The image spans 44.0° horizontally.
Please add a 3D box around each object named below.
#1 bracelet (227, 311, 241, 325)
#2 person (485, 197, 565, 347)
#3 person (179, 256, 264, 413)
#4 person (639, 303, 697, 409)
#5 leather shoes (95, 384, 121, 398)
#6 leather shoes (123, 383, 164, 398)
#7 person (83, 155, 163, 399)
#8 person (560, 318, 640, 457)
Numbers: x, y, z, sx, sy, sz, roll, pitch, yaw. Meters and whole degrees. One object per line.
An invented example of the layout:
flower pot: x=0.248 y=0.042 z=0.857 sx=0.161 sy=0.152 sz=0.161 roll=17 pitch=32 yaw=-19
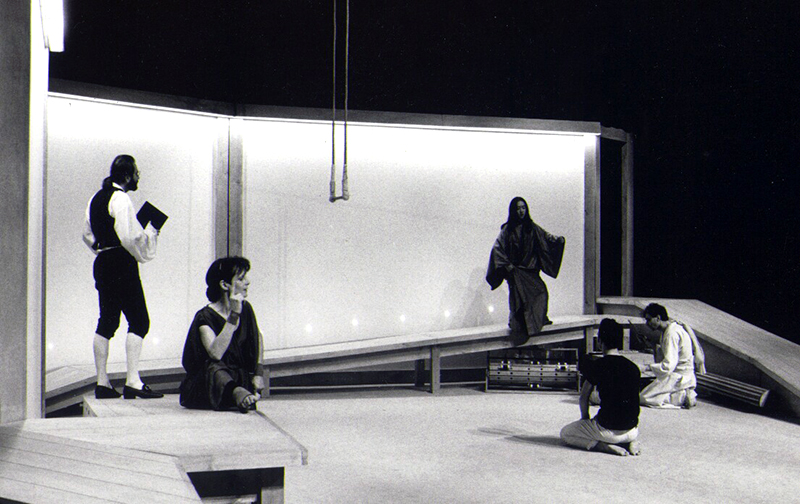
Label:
bracelet: x=-1.781 y=0.722 z=10.687 sx=0.121 sy=0.144 sz=0.118 roll=1 pitch=1 yaw=9
person: x=1.724 y=0.272 z=13.745 sx=1.022 sy=2.000 sz=0.574 roll=2 pitch=8 yaw=10
person: x=-1.943 y=0.896 z=10.686 sx=0.894 sy=1.622 sz=0.630 roll=-1 pitch=8 yaw=-11
person: x=3.519 y=1.330 z=12.789 sx=0.819 sy=1.330 sz=0.479 roll=1 pitch=8 yaw=3
leather shoes: x=-3.352 y=1.611 z=11.329 sx=0.331 sy=0.147 sz=0.124 roll=2 pitch=-4 yaw=-21
leather shoes: x=-2.953 y=1.617 z=11.399 sx=0.476 sy=0.204 sz=0.179 roll=0 pitch=-4 yaw=-17
person: x=-3.263 y=0.315 z=11.531 sx=0.858 sy=2.826 sz=1.040 roll=-1 pitch=8 yaw=-9
person: x=2.294 y=1.470 z=11.305 sx=0.911 sy=1.432 sz=0.974 roll=-1 pitch=5 yaw=20
